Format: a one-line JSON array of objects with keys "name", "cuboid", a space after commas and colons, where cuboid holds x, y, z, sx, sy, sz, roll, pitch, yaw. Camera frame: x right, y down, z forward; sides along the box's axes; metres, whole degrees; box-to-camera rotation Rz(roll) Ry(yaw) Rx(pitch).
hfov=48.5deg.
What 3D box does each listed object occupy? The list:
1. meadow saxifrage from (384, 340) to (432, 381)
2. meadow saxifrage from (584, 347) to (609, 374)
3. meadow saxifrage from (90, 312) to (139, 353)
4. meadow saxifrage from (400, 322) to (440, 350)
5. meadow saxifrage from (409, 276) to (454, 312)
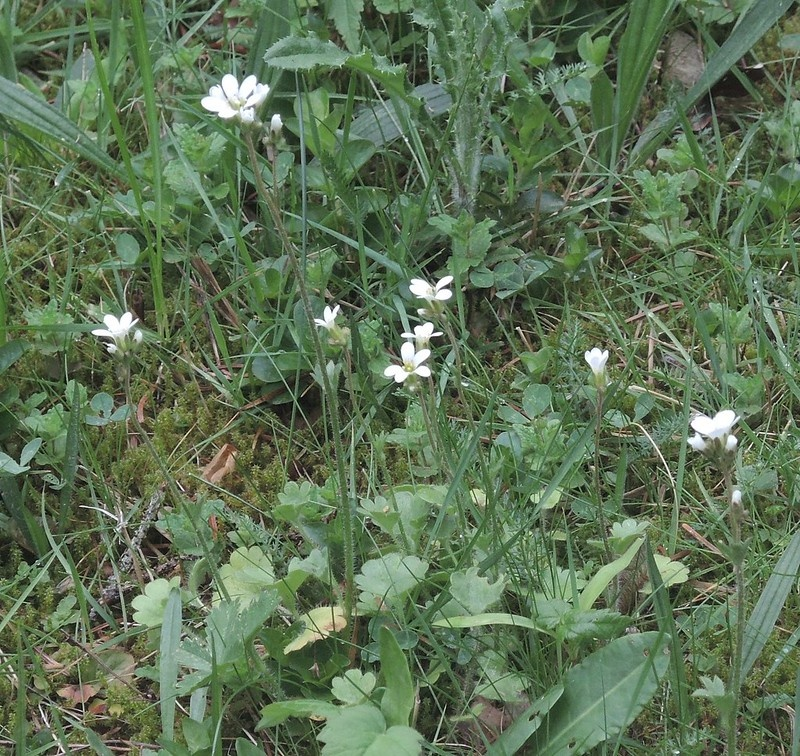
[{"name": "meadow saxifrage", "cuboid": [0.018, -0.019, 2.197, 0.097, 0.041, 0.115, 22, 66, 26]}, {"name": "meadow saxifrage", "cuboid": [0.437, -0.046, 1.996, 0.060, 0.073, 0.067, 2, 11, 7]}, {"name": "meadow saxifrage", "cuboid": [-0.798, -0.124, 2.470, 0.129, 0.074, 0.127, -25, 28, -36]}, {"name": "meadow saxifrage", "cuboid": [0.054, -0.123, 2.581, 0.086, 0.041, 0.090, -27, 47, -17]}, {"name": "meadow saxifrage", "cuboid": [0.086, -0.238, 2.544, 0.119, 0.061, 0.139, -8, 41, -2]}]
